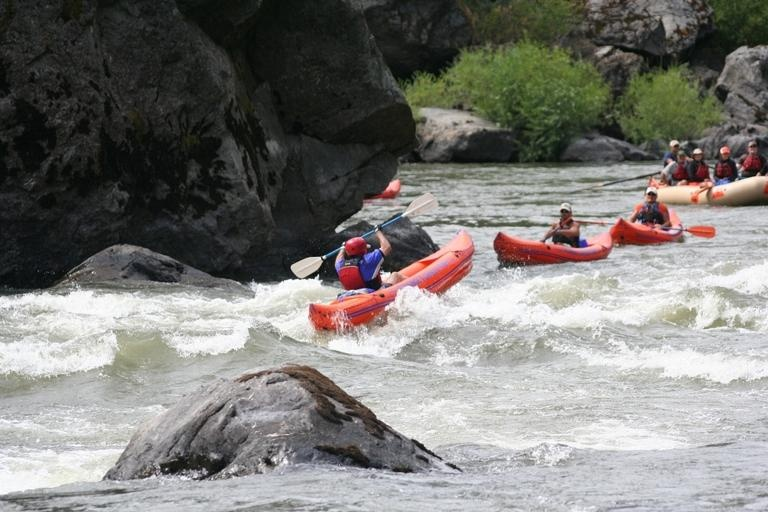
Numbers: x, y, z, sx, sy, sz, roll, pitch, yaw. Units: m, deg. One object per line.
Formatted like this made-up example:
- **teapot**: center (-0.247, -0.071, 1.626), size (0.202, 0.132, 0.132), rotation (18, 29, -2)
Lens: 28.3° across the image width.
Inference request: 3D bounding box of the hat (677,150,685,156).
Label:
- **hat**: center (7.842, -2.753, 40.999), size (0.323, 0.121, 0.420), rotation (1, 5, 10)

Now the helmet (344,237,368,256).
- **helmet**: center (-0.623, -0.153, 30.236), size (0.435, 0.364, 0.264), rotation (-3, 6, 0)

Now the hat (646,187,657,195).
- **hat**: center (6.207, -1.540, 35.974), size (0.301, 0.221, 0.431), rotation (1, -8, 9)

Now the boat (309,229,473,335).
- **boat**: center (0.304, 0.663, 30.525), size (4.283, 0.749, 1.252), rotation (-24, 3, -41)

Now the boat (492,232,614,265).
- **boat**: center (3.551, -0.078, 33.540), size (2.225, 0.584, 0.975), rotation (-2, 4, -24)

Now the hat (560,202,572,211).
- **hat**: center (3.977, -1.090, 34.178), size (0.257, 0.160, 0.362), rotation (-1, -5, 21)

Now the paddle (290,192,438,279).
- **paddle**: center (-0.546, -0.364, 33.069), size (4.073, 0.133, 0.543), rotation (-26, 25, 9)

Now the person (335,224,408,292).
- **person**: center (-0.430, 0.185, 30.244), size (1.117, 1.055, 0.765), rotation (-4, 6, 0)
